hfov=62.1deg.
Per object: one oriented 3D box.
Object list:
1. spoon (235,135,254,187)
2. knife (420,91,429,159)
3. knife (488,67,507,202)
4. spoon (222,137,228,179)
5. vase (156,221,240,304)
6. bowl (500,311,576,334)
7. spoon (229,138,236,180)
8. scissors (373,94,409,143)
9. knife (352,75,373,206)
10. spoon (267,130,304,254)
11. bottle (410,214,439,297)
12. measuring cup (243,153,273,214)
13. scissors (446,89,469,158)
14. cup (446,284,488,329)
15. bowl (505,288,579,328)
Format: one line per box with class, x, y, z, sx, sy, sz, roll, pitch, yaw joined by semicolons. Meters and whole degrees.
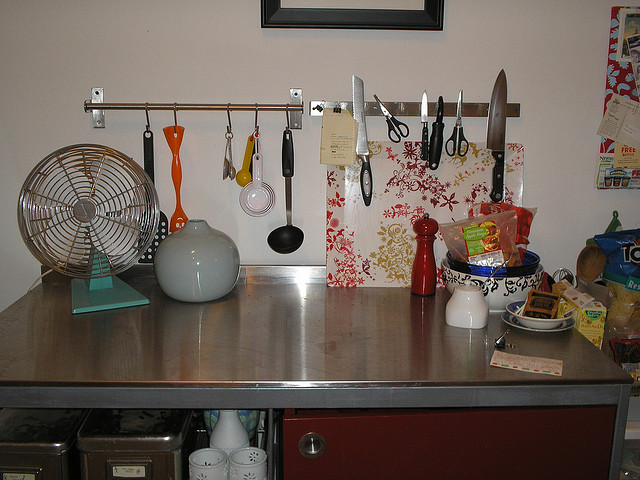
spoon;-0.266;-0.269;1.854;0.047;0.183;0.024;7;10;14
knife;0.362;-0.400;1.833;0.030;0.227;0.011;1;9;11
knife;0.614;-0.353;1.866;0.067;0.470;0.031;8;30;27
spoon;-0.334;-0.276;1.866;0.022;0.122;0.053;-3;11;-12
vase;-0.382;0.044;1.764;0.230;0.235;0.246;5;10;25
bowl;0.653;0.253;1.582;0.216;0.034;0.095;2;13;11
spoon;-0.314;-0.281;1.875;0.030;0.138;0.029;-7;13;-32
scissors;0.243;-0.419;1.836;0.125;0.165;0.089;1;11;10
knife;0.148;-0.337;1.844;0.062;0.440;0.066;-9;14;-38
spoon;-0.116;-0.167;1.855;0.123;0.434;0.101;6;12;29
bottle;0.357;0.046;1.828;0.095;0.281;0.158;1;11;10
measuring cup;-0.224;-0.199;1.870;0.072;0.190;0.055;5;19;8
scissors;0.480;-0.404;1.850;0.078;0.233;0.064;3;11;15
cup;0.432;0.202;1.572;0.103;0.130;0.123;0;6;9
bowl;0.672;0.205;1.579;0.128;0.052;0.128;-4;23;2
